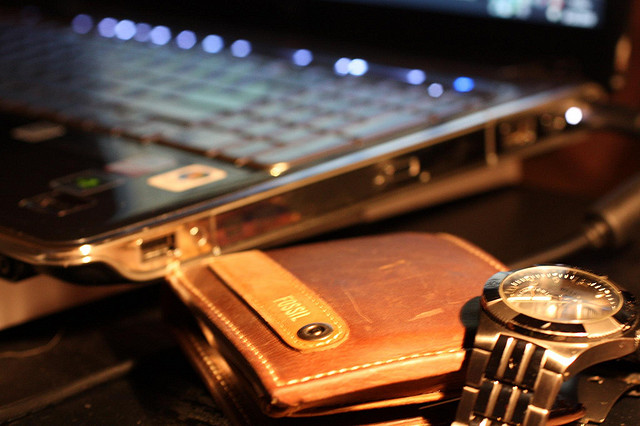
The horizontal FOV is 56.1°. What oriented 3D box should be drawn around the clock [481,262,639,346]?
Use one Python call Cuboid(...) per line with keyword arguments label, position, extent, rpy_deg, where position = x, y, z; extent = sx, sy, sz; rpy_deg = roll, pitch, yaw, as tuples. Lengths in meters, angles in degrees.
Cuboid(label="clock", position=(0.227, 0.084, 0.566), extent=(0.139, 0.019, 0.094), rpy_deg=(9, 38, 18))
